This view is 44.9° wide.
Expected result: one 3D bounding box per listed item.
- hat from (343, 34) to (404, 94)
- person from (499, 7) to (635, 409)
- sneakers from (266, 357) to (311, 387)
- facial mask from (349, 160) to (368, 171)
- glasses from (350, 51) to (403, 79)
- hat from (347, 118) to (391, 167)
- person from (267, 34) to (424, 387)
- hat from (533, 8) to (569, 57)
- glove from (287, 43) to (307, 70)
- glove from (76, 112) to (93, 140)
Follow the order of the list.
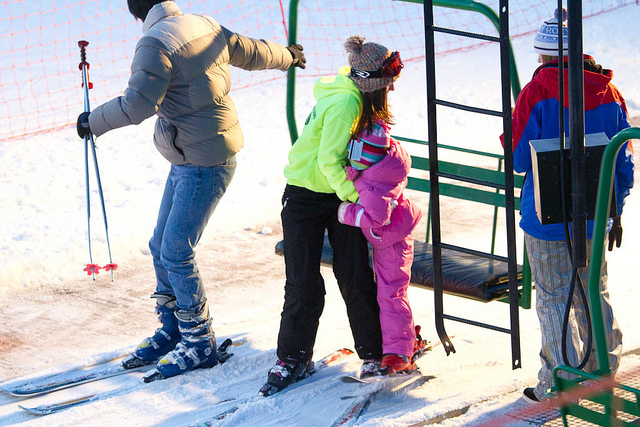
[{"bbox_3d":[0.367,-0.939,5.004,0.380,0.309,0.340,-1,40,17],"label":"hat"},{"bbox_3d":[1.534,-0.044,4.785,0.831,2.441,0.570,0,-1,3],"label":"person"},{"bbox_3d":[-0.205,1.060,5.256,0.160,0.107,0.269,26,34,32],"label":"sneakers"},{"bbox_3d":[0.249,-0.309,4.958,0.077,0.071,0.018,12,44,10],"label":"facial mask"},{"bbox_3d":[0.370,-0.921,4.950,0.247,0.099,0.201,-5,11,20],"label":"glasses"},{"bbox_3d":[0.277,-0.445,4.970,0.306,0.281,0.238,14,15,3],"label":"hat"},{"bbox_3d":[0.097,0.027,5.121,0.977,2.322,0.500,0,-1,8],"label":"person"},{"bbox_3d":[1.405,-1.081,4.719,0.196,0.344,0.584,-1,-1,16],"label":"hat"},{"bbox_3d":[-0.140,-1.156,5.757,0.062,0.184,0.193,-27,-22,35],"label":"glove"},{"bbox_3d":[-1.552,-0.585,5.122,0.094,0.176,0.183,0,-1,-17],"label":"glove"}]
